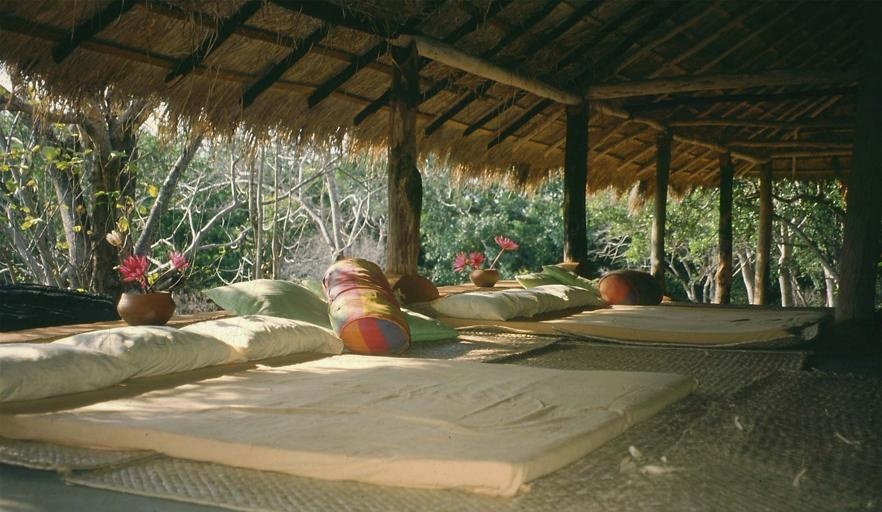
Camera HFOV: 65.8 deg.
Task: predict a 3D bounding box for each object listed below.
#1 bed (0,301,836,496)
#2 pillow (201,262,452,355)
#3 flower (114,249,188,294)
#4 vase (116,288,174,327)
[{"bbox_3d":[-0.391,0.802,3.668,3.246,0.277,1.171,4,11,9],"label":"bed"},{"bbox_3d":[-0.799,0.378,4.928,1.009,0.310,0.960,16,0,17],"label":"pillow"},{"bbox_3d":[-1.969,0.095,4.631,0.350,0.194,0.318,-8,14,-24],"label":"flower"},{"bbox_3d":[-1.937,0.348,4.503,0.272,0.142,0.261,4,-7,-28],"label":"vase"}]
